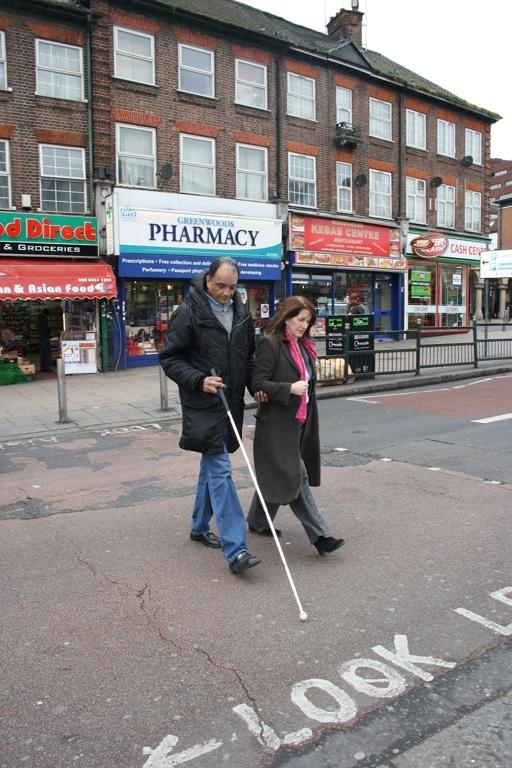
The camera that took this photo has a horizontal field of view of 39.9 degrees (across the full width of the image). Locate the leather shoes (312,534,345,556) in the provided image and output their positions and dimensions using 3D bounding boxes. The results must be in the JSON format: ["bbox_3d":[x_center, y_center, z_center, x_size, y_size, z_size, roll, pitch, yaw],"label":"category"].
[{"bbox_3d":[0.453,1.022,4.461,0.182,0.132,0.063,-31,-5,18],"label":"leather shoes"}]

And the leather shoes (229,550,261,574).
[{"bbox_3d":[-0.080,1.042,4.165,0.092,0.116,0.236,-1,-25,-39],"label":"leather shoes"}]

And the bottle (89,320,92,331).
[{"bbox_3d":[-4.221,-1.496,17.895,0.082,0.267,0.303,-2,5,-23],"label":"bottle"}]

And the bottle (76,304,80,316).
[{"bbox_3d":[-4.657,-1.965,18.456,0.105,0.255,0.033,-4,6,-39],"label":"bottle"}]

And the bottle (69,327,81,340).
[{"bbox_3d":[-4.554,-1.265,17.675,0.253,0.320,0.422,2,14,-19],"label":"bottle"}]

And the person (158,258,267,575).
[{"bbox_3d":[-0.268,0.178,4.366,0.622,1.872,0.710,0,5,1],"label":"person"}]

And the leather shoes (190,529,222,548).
[{"bbox_3d":[-0.342,1.042,4.741,0.086,0.097,0.229,-6,4,-44],"label":"leather shoes"}]

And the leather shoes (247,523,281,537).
[{"bbox_3d":[0.050,1.010,4.968,0.267,0.118,0.094,-3,3,22],"label":"leather shoes"}]
